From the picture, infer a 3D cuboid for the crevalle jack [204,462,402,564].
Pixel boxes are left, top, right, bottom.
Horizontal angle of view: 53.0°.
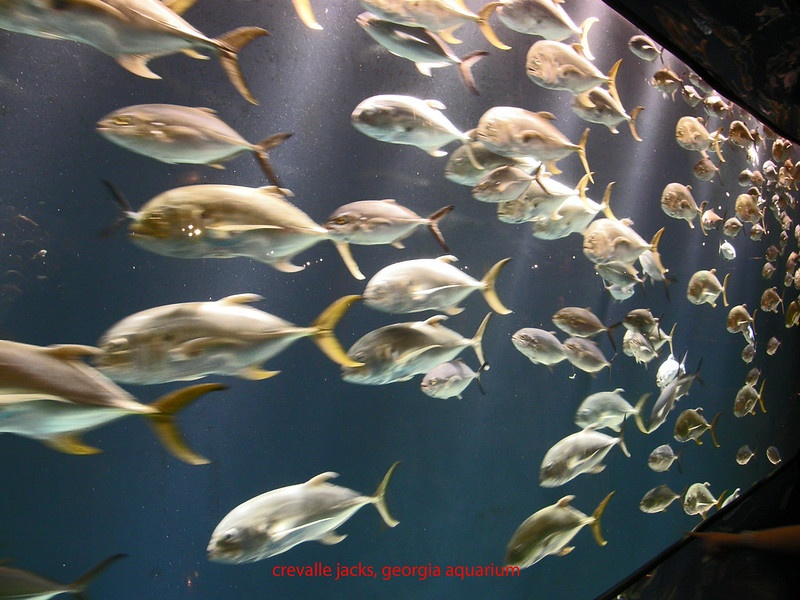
[{"bbox_3d":[-0.444,1.133,4.348,1.207,0.399,0.361,-2,88,-32],"label":"crevalle jack"}]
